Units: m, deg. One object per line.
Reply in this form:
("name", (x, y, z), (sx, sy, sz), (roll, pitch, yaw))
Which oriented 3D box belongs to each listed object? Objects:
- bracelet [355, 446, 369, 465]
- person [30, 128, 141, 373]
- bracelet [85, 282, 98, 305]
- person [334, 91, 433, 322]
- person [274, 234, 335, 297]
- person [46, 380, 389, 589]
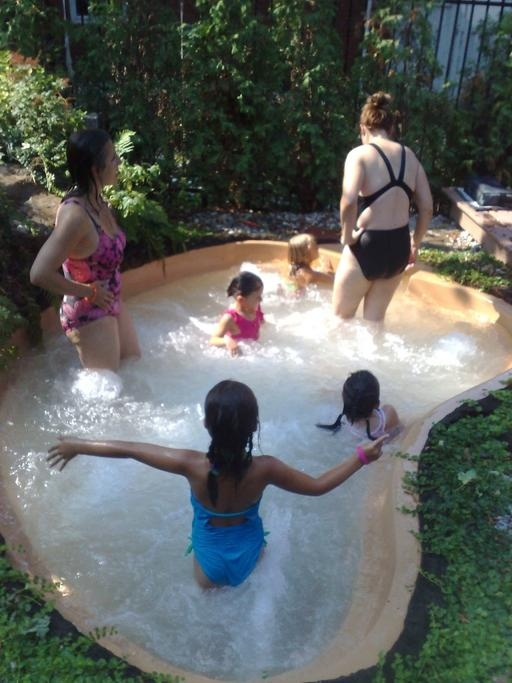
("bracelet", (0.415, 0.445, 2.246), (0.032, 0.062, 0.047), (-26, 7, 5))
("person", (-1.118, -0.544, 3.658), (0.555, 1.922, 0.820), (1, 56, -14))
("bracelet", (-0.892, -0.260, 3.144), (0.033, 0.086, 0.076), (-8, 13, -28))
("person", (0.880, -0.807, 4.043), (0.691, 1.698, 0.524), (1, 34, -6))
("person", (0.453, -0.750, 5.165), (0.558, 0.570, 0.719), (7, 34, 2))
("person", (-0.186, 0.828, 2.456), (1.336, 1.438, 0.330), (3, 27, -2))
